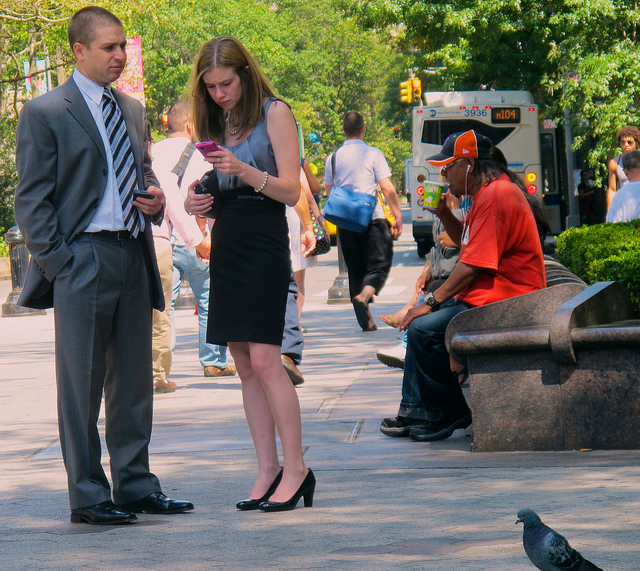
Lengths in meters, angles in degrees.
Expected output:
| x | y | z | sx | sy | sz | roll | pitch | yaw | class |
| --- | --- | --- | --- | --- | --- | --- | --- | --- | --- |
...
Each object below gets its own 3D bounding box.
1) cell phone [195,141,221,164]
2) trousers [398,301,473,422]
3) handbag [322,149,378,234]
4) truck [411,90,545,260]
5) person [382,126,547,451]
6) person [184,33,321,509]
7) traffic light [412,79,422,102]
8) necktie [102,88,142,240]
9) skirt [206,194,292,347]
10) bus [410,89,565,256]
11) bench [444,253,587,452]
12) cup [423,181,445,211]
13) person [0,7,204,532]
| x | y | z | sx | sy | sz | roll | pitch | yaw | class |
| --- | --- | --- | --- | --- | --- | --- | --- | --- | --- |
| -0.557 | -0.665 | 6.391 | 0.118 | 0.114 | 0.180 | -2 | 5 | -7 | cell phone |
| 0.706 | 0.467 | 7.919 | 0.447 | 0.741 | 0.237 | -1 | 6 | 2 | trousers |
| 0.325 | -0.959 | 12.569 | 0.511 | 0.296 | 0.755 | 13 | -19 | 0 | handbag |
| 3.376 | -2.482 | 27.382 | 3.145 | 3.175 | 5.255 | 0 | 6 | 7 | truck |
| 0.889 | 0.012 | 8.006 | 1.184 | 1.822 | 0.845 | -3 | 0 | 5 | person |
| -0.366 | -0.088 | 6.626 | 0.654 | 2.409 | 0.616 | -1 | 6 | -1 | person |
| 2.512 | -5.104 | 33.216 | 0.195 | 0.453 | 0.598 | 0 | 5 | 8 | traffic light |
| -1.030 | -0.654 | 6.602 | 0.159 | 0.713 | 0.168 | 1 | 7 | 23 | necktie |
| -0.368 | -0.082 | 6.513 | 0.430 | 0.766 | 0.232 | -1 | 6 | -3 | skirt |
| 3.484 | -2.547 | 26.284 | 2.869 | 2.846 | 4.731 | 0 | 2 | 10 | bus |
| 1.704 | 0.272 | 8.529 | 0.735 | 0.959 | 2.753 | 1 | 12 | 26 | bench |
| 0.712 | -0.572 | 8.166 | 0.168 | 0.163 | 0.160 | 9 | 12 | -2 | cup |
| -1.100 | -0.108 | 6.497 | 0.801 | 2.576 | 0.567 | -5 | 7 | -30 | person |
